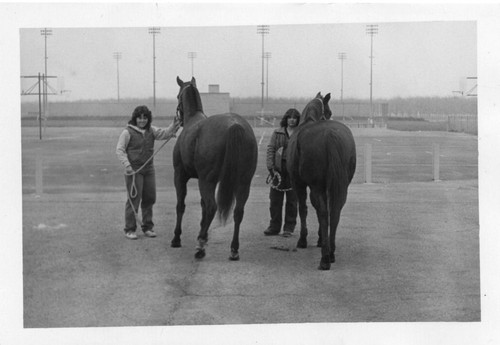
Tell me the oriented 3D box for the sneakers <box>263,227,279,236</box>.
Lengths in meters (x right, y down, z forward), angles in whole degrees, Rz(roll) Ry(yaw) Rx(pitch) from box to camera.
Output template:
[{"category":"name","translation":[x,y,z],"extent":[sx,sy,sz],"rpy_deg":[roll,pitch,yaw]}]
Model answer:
[{"category":"sneakers","translation":[0.513,1.377,14.304],"extent":[0.401,0.209,0.158],"rpy_deg":[6,-3,-24]}]

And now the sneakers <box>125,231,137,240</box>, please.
[{"category":"sneakers","translation":[-2.690,1.399,13.783],"extent":[0.274,0.166,0.278],"rpy_deg":[-3,13,-11]}]

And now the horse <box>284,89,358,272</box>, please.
[{"category":"horse","translation":[1.504,-0.077,13.521],"extent":[1.078,3.630,3.685],"rpy_deg":[1,4,-4]}]

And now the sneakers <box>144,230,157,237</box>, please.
[{"category":"sneakers","translation":[-2.312,1.394,14.047],"extent":[0.116,0.166,0.333],"rpy_deg":[-2,-3,-33]}]

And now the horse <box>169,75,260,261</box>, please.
[{"category":"horse","translation":[-1.061,-0.112,13.815],"extent":[1.075,3.849,4.230],"rpy_deg":[2,4,-23]}]
